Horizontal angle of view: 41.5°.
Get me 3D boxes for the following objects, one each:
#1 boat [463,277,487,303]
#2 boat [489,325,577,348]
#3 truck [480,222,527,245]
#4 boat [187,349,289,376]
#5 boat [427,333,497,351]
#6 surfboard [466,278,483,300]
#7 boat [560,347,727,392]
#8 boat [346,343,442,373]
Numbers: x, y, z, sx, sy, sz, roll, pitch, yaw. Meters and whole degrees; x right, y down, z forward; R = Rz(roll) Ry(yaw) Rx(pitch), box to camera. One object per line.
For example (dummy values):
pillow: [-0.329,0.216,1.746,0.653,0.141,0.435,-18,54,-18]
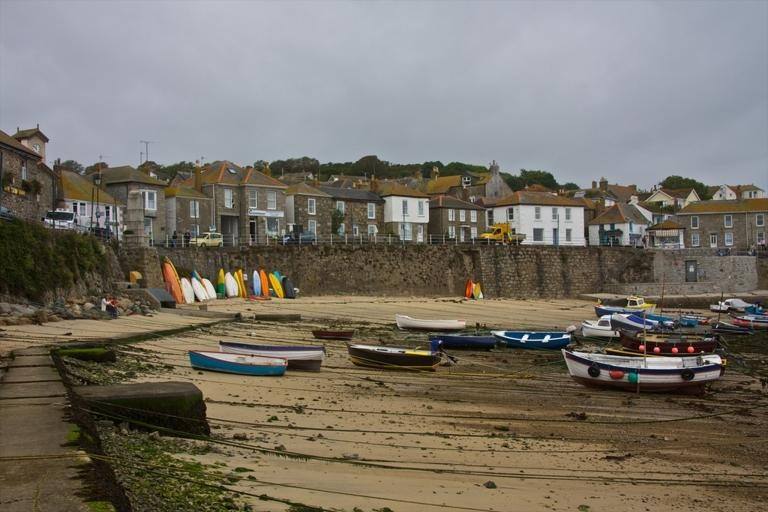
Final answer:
boat: [5.920,2.266,66.359,1.367,1.525,1.441,-4,0,-14]
boat: [6.952,3.787,47.430,4.235,1.096,2.004,-2,-10,4]
truck: [8.614,-1.629,74.461,3.794,1.642,1.802,5,-6,-42]
boat: [-5.451,4.096,39.085,3.535,0.719,1.048,3,8,-7]
boat: [3.689,3.926,46.971,3.278,0.728,1.960,5,11,-2]
surfboard: [5.822,2.195,66.393,1.098,1.289,0.477,3,-9,-6]
boat: [10.072,4.587,39.794,5.987,1.516,2.100,1,5,9]
boat: [0.410,4.697,41.795,3.632,0.850,1.081,4,6,5]
